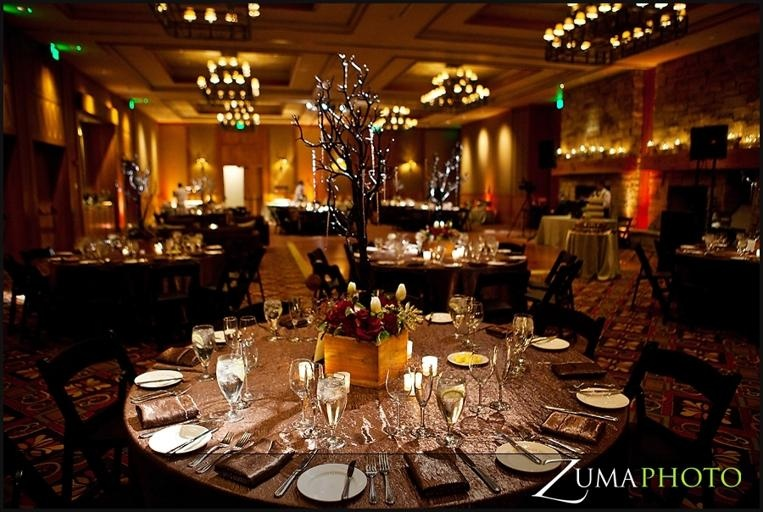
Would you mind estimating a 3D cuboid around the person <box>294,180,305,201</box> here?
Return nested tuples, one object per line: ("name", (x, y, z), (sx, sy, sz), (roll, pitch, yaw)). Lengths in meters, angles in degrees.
("person", (-2.936, -2.324, 19.127), (0.348, 0.729, 0.707), (-2, 6, -6))

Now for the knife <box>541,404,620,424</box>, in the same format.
("knife", (1.107, 0.876, 2.914), (0.377, 0.019, 0.052), (3, 25, 14))

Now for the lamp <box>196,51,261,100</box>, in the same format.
("lamp", (-3.398, -4.033, 11.717), (1.346, 0.644, 1.347), (0, -10, -20))

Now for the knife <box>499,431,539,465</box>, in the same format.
("knife", (0.708, 0.987, 2.755), (0.057, 0.028, 0.335), (-17, 16, -14))

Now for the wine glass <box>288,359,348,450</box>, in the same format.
("wine glass", (-0.344, 0.811, 2.810), (0.158, 0.307, 0.386), (-3, 8, -38))

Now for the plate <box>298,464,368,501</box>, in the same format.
("plate", (-0.239, 1.107, 2.572), (0.341, 0.121, 0.150), (-1, 6, -4))

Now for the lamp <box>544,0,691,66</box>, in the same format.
("lamp", (3.955, -3.820, 8.950), (1.311, 1.165, 2.485), (-13, 24, -23))

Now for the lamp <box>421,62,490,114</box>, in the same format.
("lamp", (1.794, -3.983, 12.746), (1.456, 0.718, 1.301), (-6, 26, -4))

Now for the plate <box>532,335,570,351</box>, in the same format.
("plate", (1.144, 0.597, 3.594), (0.255, 0.067, 0.185), (0, 5, 8))

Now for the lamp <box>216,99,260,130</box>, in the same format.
("lamp", (-3.835, -3.742, 14.023), (1.201, 0.365, 1.249), (-2, -36, -7))
